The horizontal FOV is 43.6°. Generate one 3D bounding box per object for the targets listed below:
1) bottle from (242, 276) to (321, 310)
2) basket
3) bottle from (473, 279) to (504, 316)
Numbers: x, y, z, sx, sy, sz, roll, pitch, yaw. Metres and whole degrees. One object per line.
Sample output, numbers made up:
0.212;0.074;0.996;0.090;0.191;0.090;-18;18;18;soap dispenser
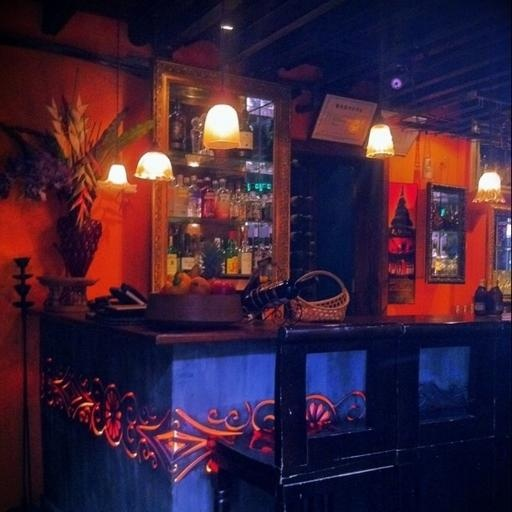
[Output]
0.107;0.175;3.194;0.408;0.134;0.137;-21;-55;35;bottle
0.304;0.238;3.049;0.330;0.340;0.215;-1;-2;-17;basket
1.447;0.274;3.990;0.163;0.178;0.320;2;-1;21;bottle
